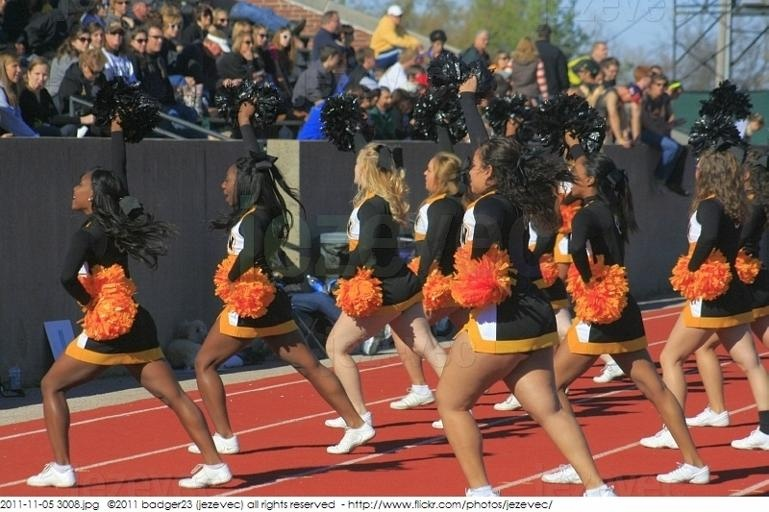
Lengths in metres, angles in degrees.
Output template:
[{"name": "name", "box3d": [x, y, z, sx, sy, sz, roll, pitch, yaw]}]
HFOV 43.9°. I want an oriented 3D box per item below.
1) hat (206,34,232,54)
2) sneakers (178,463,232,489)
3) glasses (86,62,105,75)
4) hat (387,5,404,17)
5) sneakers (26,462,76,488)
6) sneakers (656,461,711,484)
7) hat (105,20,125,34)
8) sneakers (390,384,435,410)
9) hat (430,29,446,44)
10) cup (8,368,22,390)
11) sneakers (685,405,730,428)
[{"name": "hat", "box3d": [-2.576, -3.351, 14.854, 0.366, 0.123, 0.238, 34, 12, -1]}, {"name": "sneakers", "box3d": [-1.496, 1.880, 8.217, 0.530, 0.225, 0.197, -4, 3, 14]}, {"name": "glasses", "box3d": [-3.731, -2.432, 12.307, 0.084, 0.127, 0.205, 7, 10, 44]}, {"name": "hat", "box3d": [0.168, -4.568, 17.567, 0.222, 0.152, 0.288, -7, 13, -40]}, {"name": "sneakers", "box3d": [-2.881, 1.865, 8.165, 0.515, 0.227, 0.175, 2, -4, 8]}, {"name": "sneakers", "box3d": [2.588, 1.865, 8.229, 0.490, 0.194, 0.176, 0, 0, 8]}, {"name": "hat", "box3d": [-3.645, -3.090, 12.865, 0.255, 0.147, 0.354, 1, 6, -16]}, {"name": "sneakers", "box3d": [0.233, 1.523, 10.385, 0.603, 0.273, 0.205, -5, 5, 11]}, {"name": "hat", "box3d": [0.900, -3.688, 15.882, 0.228, 0.219, 0.281, -1, 7, -2]}, {"name": "cup", "box3d": [-4.332, 1.423, 11.144, 0.135, 0.236, 0.145, -1, 7, 0]}, {"name": "sneakers", "box3d": [3.286, 1.650, 9.739, 0.593, 0.257, 0.211, 1, 0, 7]}]
